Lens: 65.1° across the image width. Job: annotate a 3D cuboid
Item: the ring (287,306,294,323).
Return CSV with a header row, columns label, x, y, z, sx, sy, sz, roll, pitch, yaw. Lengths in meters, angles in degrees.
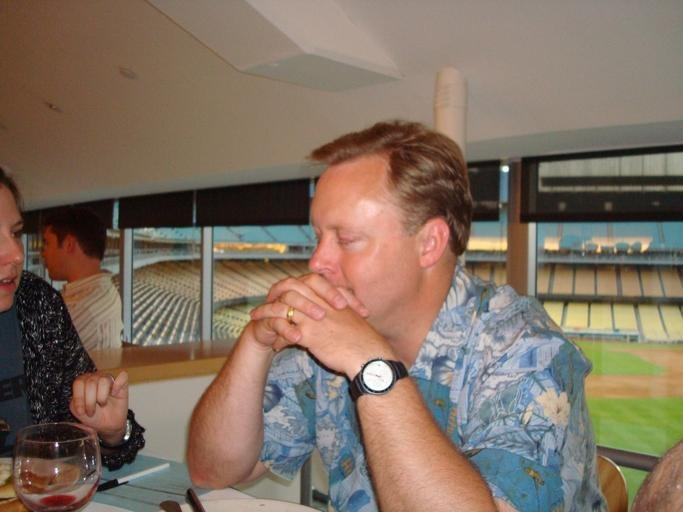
label,x,y,z,sx,sy,sz,roll,pitch,yaw
ring,-0.134,0.155,1.407,0.024,0.027,0.027,3,41,-2
